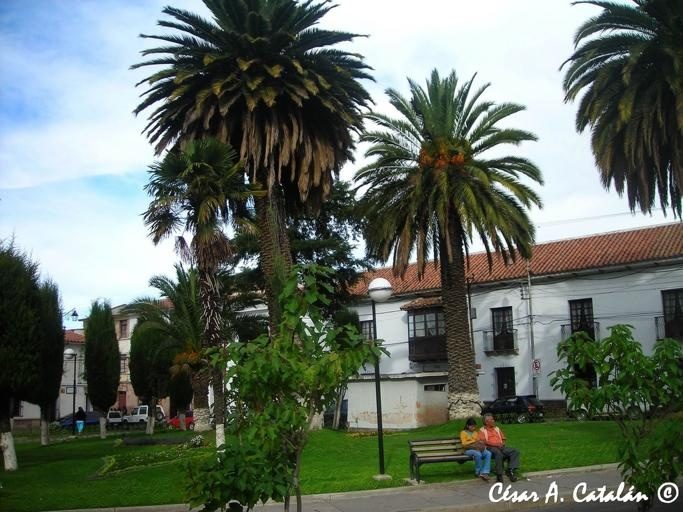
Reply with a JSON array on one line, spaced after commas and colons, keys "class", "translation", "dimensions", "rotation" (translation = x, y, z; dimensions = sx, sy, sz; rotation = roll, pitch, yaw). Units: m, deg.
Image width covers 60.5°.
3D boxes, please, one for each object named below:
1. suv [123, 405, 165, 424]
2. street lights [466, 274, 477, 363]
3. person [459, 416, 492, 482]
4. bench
[{"class": "suv", "translation": [-17.080, 13.684, 50.857], "dimensions": [3.255, 1.392, 9.099], "rotation": [0, -11, -20]}, {"class": "street lights", "translation": [8.500, 4.019, 38.095], "dimensions": [0.679, 5.647, 0.690], "rotation": [-8, 22, 3]}, {"class": "person", "translation": [3.304, 4.678, 14.327], "dimensions": [0.694, 1.365, 0.912], "rotation": [-5, -10, 9]}, {"class": "bench", "translation": [2.449, 4.980, 14.366], "dimensions": [1.625, 0.838, 0.577], "rotation": [5, -6, -26]}]
